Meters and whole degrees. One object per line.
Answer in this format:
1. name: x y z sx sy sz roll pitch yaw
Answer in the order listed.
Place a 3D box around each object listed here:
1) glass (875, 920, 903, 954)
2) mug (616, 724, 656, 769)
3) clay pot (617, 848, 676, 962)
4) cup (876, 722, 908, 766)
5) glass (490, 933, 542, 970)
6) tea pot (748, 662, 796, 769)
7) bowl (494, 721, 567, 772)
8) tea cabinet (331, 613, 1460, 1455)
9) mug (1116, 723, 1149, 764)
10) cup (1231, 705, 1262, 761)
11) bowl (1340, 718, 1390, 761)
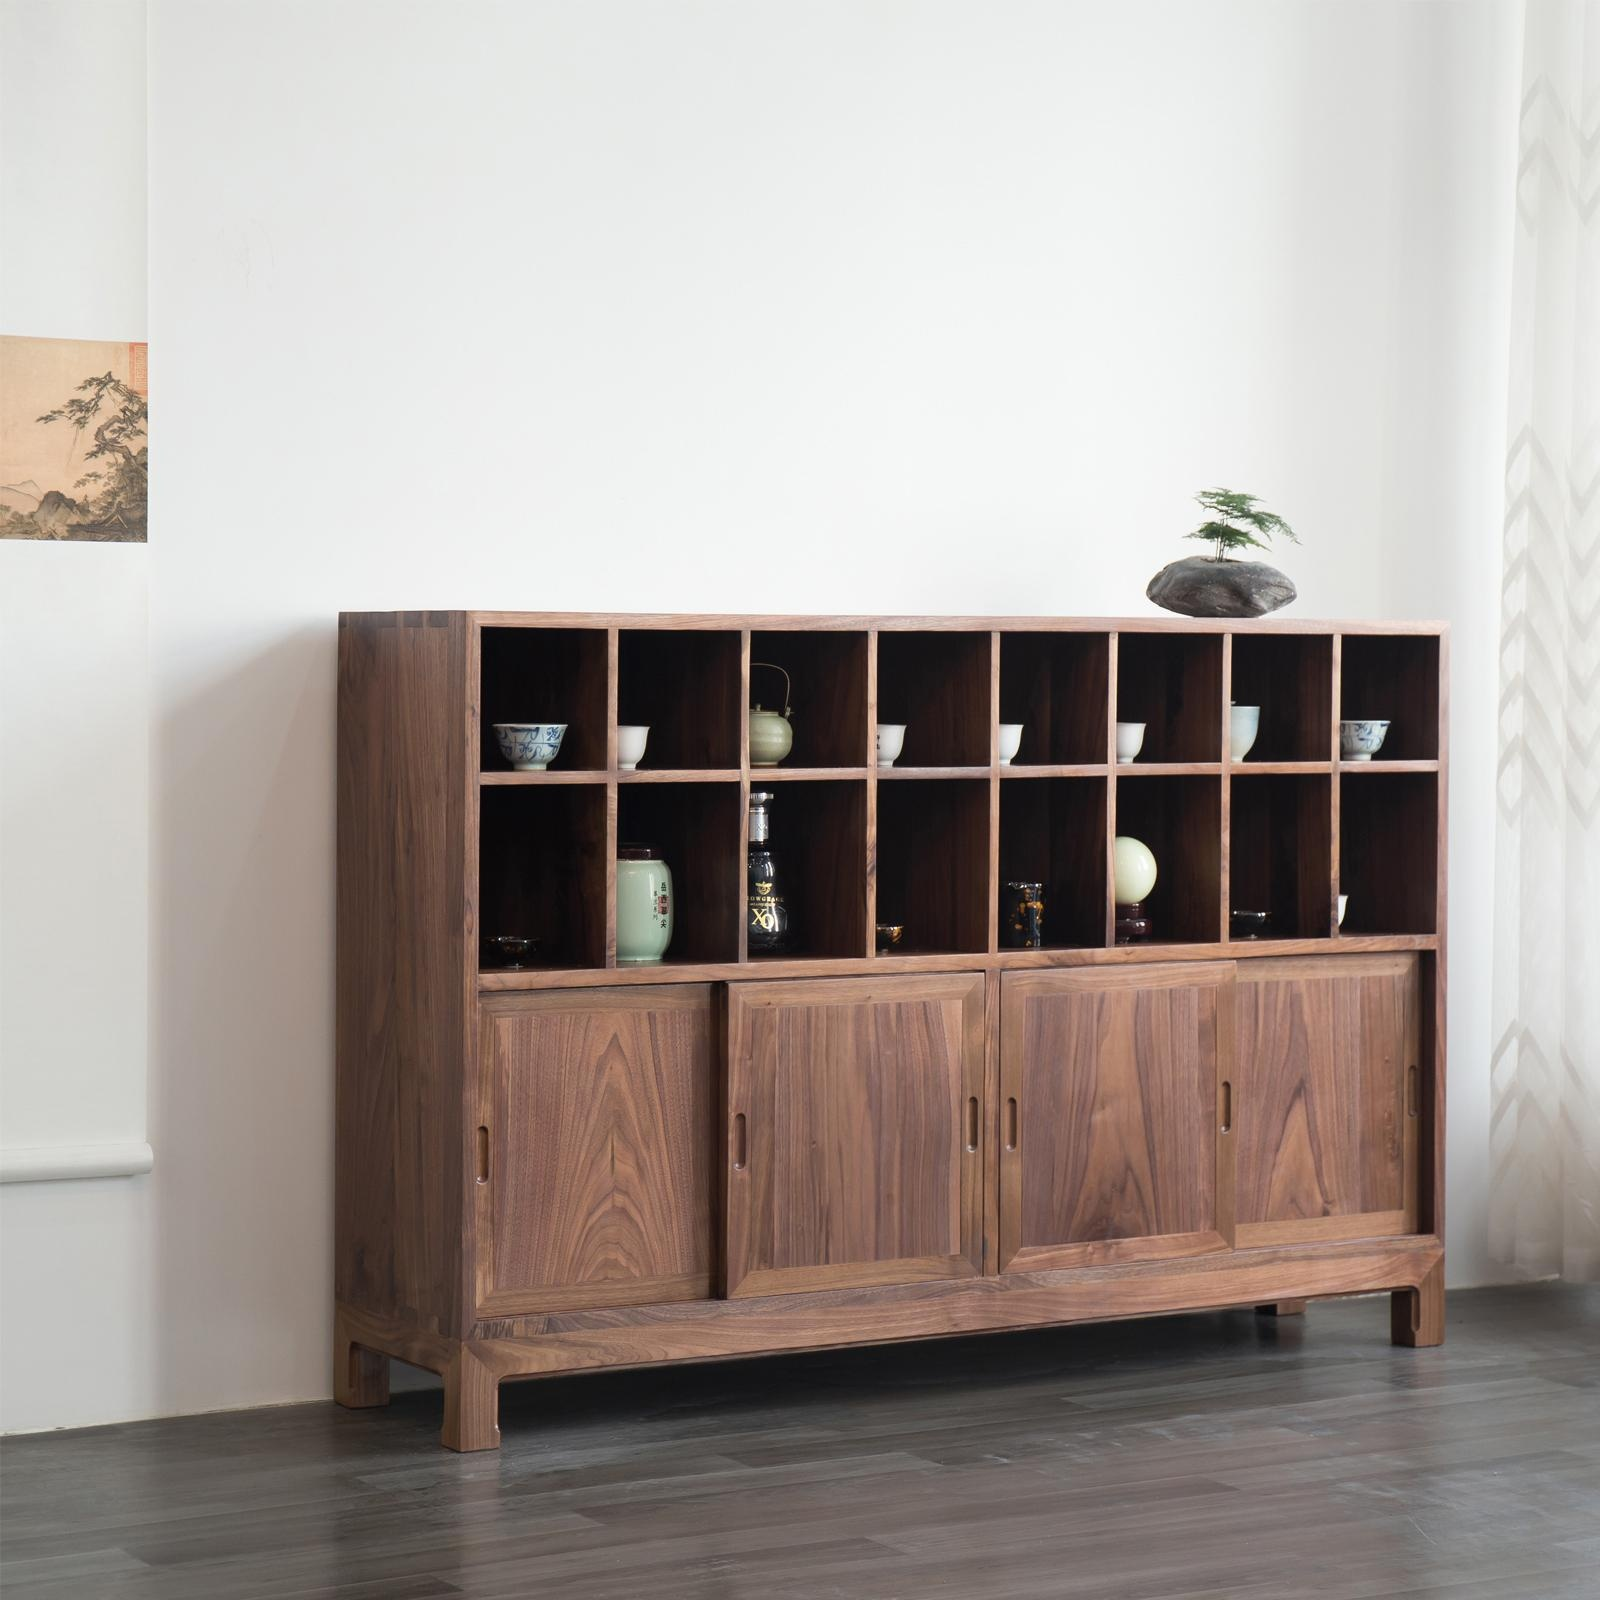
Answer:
1. glass: 0.153 0.242 3.046 0.046 0.036 0.046 0 -6 -1
2. mug: -0.256 -0.082 2.797 0.068 0.053 0.064 0 -1 -1
3. clay pot: -0.262 0.168 2.876 0.128 0.185 0.127 0 -3 0
4. cup: 0.157 -0.094 2.966 0.062 0.054 0.067 0 -4 0
5. glass: -0.451 0.244 2.796 0.056 0.033 0.055 6 -9 -34
6. tea pot: -0.060 -0.141 2.953 0.098 0.157 0.098 1 0 0
7. bowl: -0.430 -0.084 2.749 0.084 0.053 0.086 -1 1 0
8. tea cabinet: 0.245 0.357 3.174 1.956 1.339 0.497 0 1 -22
9. mug: 0.596 -0.100 3.169 0.073 0.064 0.080 0 -3 13
10. cup: 0.814 -0.122 3.245 0.093 0.107 0.100 1 -1 0
11. bowl: 1.071 -0.109 3.340 0.085 0.061 0.086 -1 -3 0
